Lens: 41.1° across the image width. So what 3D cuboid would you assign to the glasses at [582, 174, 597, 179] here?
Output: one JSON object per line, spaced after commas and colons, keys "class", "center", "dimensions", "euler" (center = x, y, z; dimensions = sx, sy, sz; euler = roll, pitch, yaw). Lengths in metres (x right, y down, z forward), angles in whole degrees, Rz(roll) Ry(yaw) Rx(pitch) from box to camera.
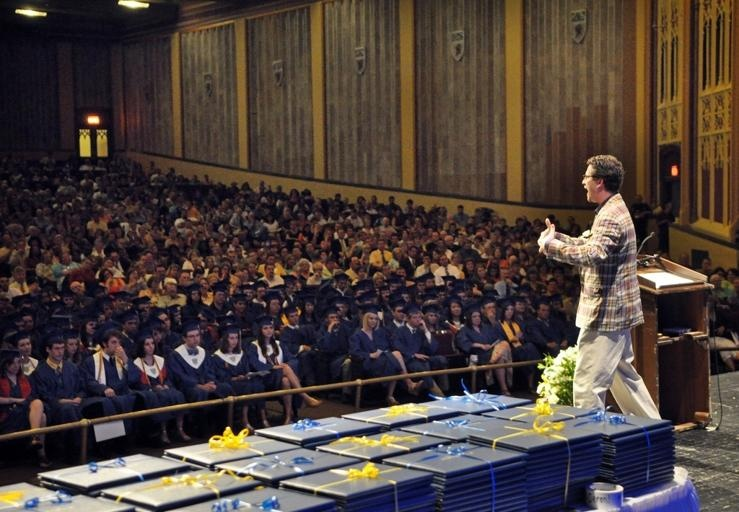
{"class": "glasses", "center": [1.799, -0.682, 8.177], "dimensions": [0.055, 0.041, 0.138], "euler": [-4, 10, -18]}
